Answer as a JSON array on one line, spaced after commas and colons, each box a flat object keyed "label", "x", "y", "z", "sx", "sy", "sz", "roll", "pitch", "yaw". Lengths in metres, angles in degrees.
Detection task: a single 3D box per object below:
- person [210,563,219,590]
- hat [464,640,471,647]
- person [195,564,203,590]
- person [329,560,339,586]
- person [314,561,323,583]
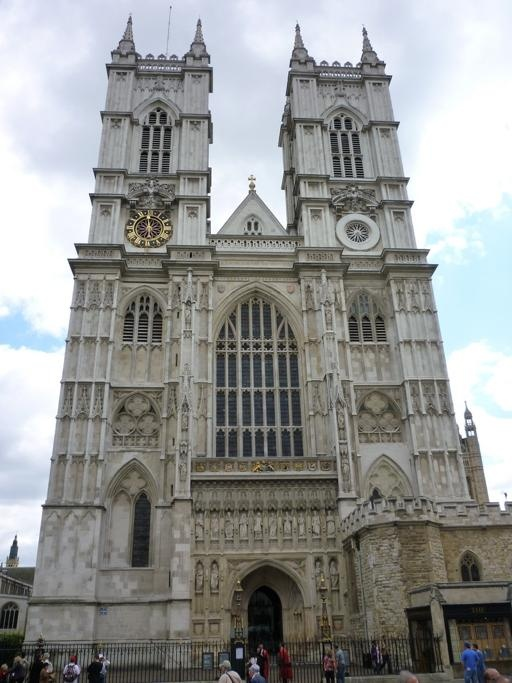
[{"label": "person", "x": -1.896, "y": 10.617, "z": 26.213, "sx": 0.394, "sy": 1.235, "sz": 0.090, "roll": -1, "pitch": -27, "yaw": -2}, {"label": "hat", "x": 4.690, "y": 6.684, "z": 12.849, "sx": 0.128, "sy": 0.159, "sz": 0.378, "roll": -2, "pitch": -28, "yaw": 10}, {"label": "person", "x": -2.563, "y": 10.638, "z": 26.156, "sx": 0.365, "sy": 1.262, "sz": 0.123, "roll": 4, "pitch": -28, "yaw": -12}, {"label": "person", "x": 3.512, "y": 10.614, "z": 26.517, "sx": 0.445, "sy": 1.313, "sz": 0.133, "roll": -4, "pitch": -27, "yaw": 5}, {"label": "person", "x": 2.798, "y": 10.375, "z": 26.068, "sx": 0.420, "sy": 1.159, "sz": 1.028, "roll": -4, "pitch": -27, "yaw": 5}]
